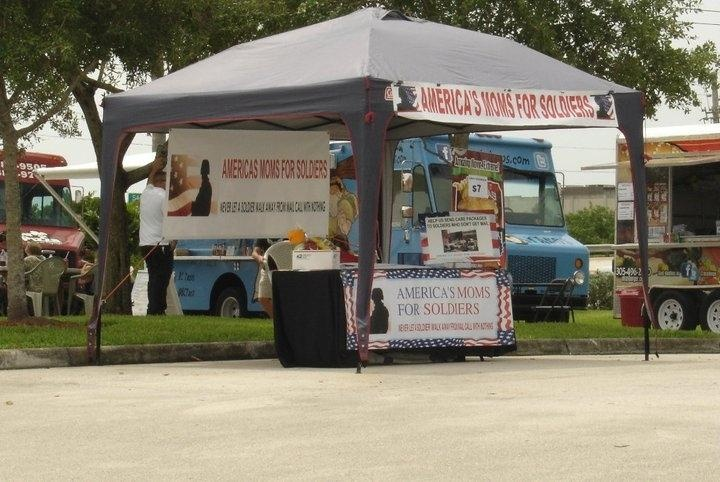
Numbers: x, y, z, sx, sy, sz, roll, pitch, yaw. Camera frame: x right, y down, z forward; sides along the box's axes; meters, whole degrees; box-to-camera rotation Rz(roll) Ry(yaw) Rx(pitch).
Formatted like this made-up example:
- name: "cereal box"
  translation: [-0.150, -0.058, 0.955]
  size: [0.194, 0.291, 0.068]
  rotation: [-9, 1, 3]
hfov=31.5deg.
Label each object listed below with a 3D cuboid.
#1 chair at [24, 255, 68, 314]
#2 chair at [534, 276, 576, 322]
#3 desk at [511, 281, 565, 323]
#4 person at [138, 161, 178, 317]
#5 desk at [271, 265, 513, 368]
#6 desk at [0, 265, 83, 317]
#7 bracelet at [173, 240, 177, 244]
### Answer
- name: "chair"
  translation: [-5.826, 0.961, 23.789]
  size: [0.747, 1.229, 0.875]
  rotation: [3, -9, -31]
- name: "chair"
  translation: [3.558, 1.116, 23.649]
  size: [0.769, 1.021, 0.801]
  rotation: [-1, 8, -7]
- name: "desk"
  translation: [3.276, 1.140, 23.503]
  size: [1.050, 0.700, 0.928]
  rotation: [-1, -6, 1]
- name: "person"
  translation: [-3.312, -0.137, 20.881]
  size: [0.533, 2.289, 1.081]
  rotation: [0, -7, -9]
- name: "desk"
  translation: [0.460, 1.096, 18.148]
  size: [3.323, 1.381, 0.734]
  rotation: [1, -7, -18]
- name: "desk"
  translation: [-5.906, 0.868, 23.856]
  size: [0.973, 1.385, 1.022]
  rotation: [-1, 4, -41]
- name: "bracelet"
  translation: [-2.994, 0.030, 20.694]
  size: [0.065, 0.046, 0.065]
  rotation: [-2, -2, 33]
